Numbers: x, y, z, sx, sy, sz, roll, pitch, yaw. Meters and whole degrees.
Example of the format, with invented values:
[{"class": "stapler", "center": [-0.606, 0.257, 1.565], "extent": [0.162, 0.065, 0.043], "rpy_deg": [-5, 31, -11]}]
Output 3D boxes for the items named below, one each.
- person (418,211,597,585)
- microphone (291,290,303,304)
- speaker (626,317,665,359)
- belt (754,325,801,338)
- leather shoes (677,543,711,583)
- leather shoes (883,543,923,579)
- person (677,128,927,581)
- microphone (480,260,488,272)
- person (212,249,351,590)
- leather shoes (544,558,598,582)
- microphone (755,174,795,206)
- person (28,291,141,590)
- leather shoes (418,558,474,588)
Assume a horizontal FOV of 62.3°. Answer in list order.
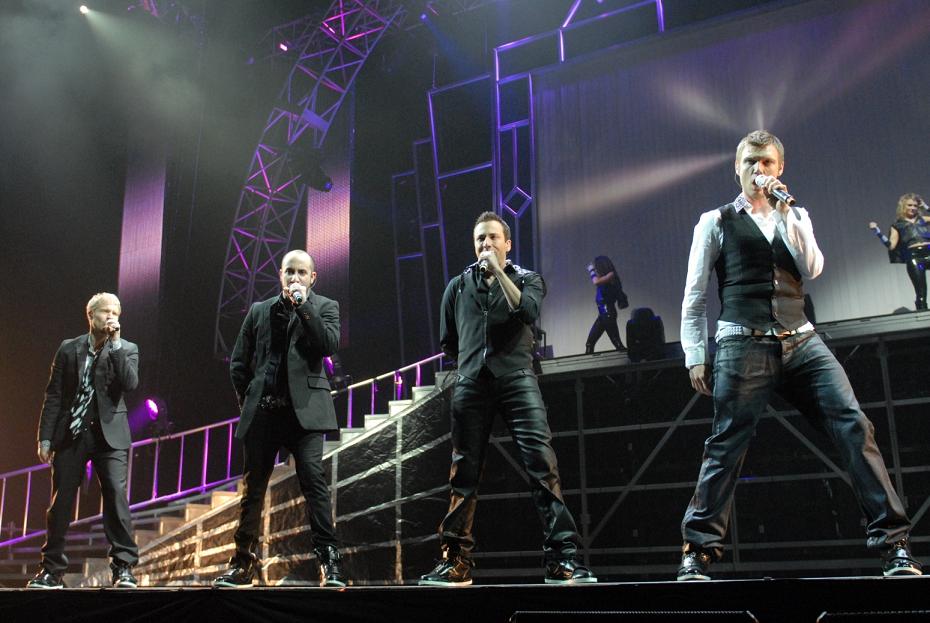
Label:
[{"class": "person", "center": [0.240, 0.589, 5.802], "extent": [1.122, 2.800, 0.606], "rpy_deg": [-6, -7, 5]}, {"class": "microphone", "center": [-1.315, -0.109, 6.090], "extent": [0.072, 0.087, 0.088], "rpy_deg": [5, 5, -17]}, {"class": "speaker", "center": [2.175, 0.342, 9.242], "extent": [0.492, 0.478, 0.483], "rpy_deg": [-2, -9, 12]}, {"class": "belt", "center": [2.152, 0.150, 5.326], "extent": [0.313, 0.077, 0.031], "rpy_deg": [-4, -7, -3]}, {"class": "leather shoes", "center": [1.551, 1.688, 5.204], "extent": [0.216, 0.214, 0.262], "rpy_deg": [-7, -7, 19]}, {"class": "leather shoes", "center": [2.798, 1.596, 4.937], "extent": [0.200, 0.179, 0.201], "rpy_deg": [-8, -7, 22]}, {"class": "person", "center": [2.096, 0.239, 5.338], "extent": [1.456, 3.082, 0.371], "rpy_deg": [-7, -7, 12]}, {"class": "microphone", "center": [0.156, -0.343, 5.916], "extent": [0.070, 0.063, 0.106], "rpy_deg": [6, -6, 5]}, {"class": "person", "center": [-1.453, 0.828, 6.142], "extent": [0.948, 2.604, 0.399], "rpy_deg": [-6, -7, 2]}, {"class": "leather shoes", "center": [0.752, 1.833, 5.452], "extent": [0.346, 0.132, 0.167], "rpy_deg": [-9, -15, 32]}, {"class": "microphone", "center": [2.142, -0.867, 5.406], "extent": [0.121, 0.114, 0.427], "rpy_deg": [-20, 36, -18]}, {"class": "person", "center": [-3.324, 1.105, 6.769], "extent": [0.866, 2.565, 0.401], "rpy_deg": [-5, -7, -3]}, {"class": "leather shoes", "center": [-0.060, 1.918, 5.603], "extent": [0.486, 0.198, 0.163], "rpy_deg": [12, -23, -26]}]
